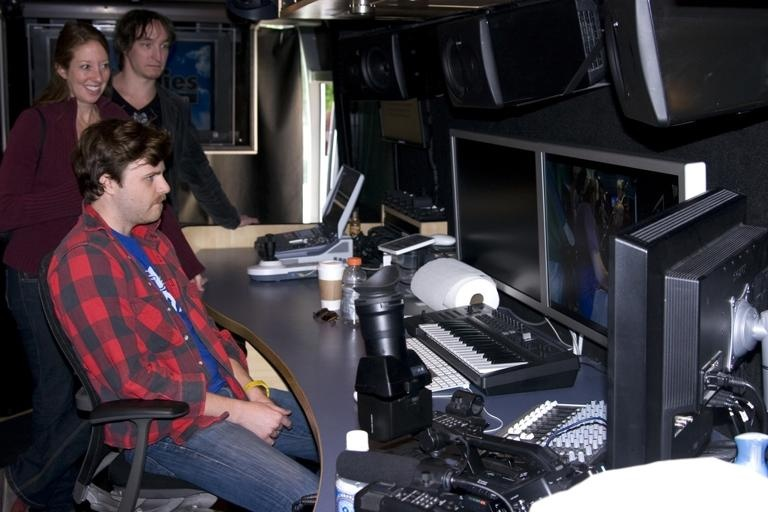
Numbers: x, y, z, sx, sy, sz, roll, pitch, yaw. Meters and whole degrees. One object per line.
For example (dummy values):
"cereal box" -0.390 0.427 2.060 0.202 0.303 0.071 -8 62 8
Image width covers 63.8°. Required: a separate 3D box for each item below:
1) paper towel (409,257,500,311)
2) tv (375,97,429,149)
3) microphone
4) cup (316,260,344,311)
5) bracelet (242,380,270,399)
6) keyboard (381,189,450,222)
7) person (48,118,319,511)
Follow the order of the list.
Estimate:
"paper towel" 0.264 0.053 2.461 0.226 0.186 0.272 -14 8 -18
"tv" 0.112 -0.772 3.540 0.061 0.280 0.416 -18 23 -19
"microphone" -0.007 0.438 1.346 0.300 0.081 0.082 0 11 24
"cup" -0.217 0.133 2.559 0.171 0.235 0.171 1 3 0
"bracelet" -0.476 0.483 2.290 0.081 0.079 0.034 9 42 10
"keyboard" 0.174 -0.283 3.408 0.211 0.119 0.529 -7 13 -18
"person" -0.661 0.136 2.121 0.869 1.217 0.582 1 13 16
